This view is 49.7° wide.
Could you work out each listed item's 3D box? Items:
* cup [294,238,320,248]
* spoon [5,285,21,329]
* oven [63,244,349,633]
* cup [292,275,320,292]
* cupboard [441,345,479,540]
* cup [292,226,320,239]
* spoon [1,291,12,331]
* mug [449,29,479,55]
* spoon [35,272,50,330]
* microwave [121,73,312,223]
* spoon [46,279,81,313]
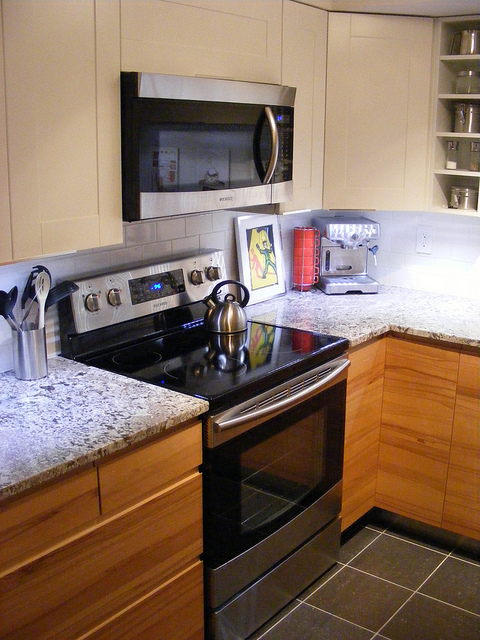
[{"bbox_3d":[0.338,-0.376,2.631,0.090,0.071,0.069,-1,6,-18],"label":"cup"},{"bbox_3d":[-0.622,-0.035,1.417,0.020,0.121,0.026,-18,23,-39],"label":"spoon"},{"bbox_3d":[0.038,0.187,2.354,1.069,1.822,1.119,13,22,35],"label":"oven"},{"bbox_3d":[0.340,-0.186,2.627,0.110,0.086,0.078,0,10,0],"label":"cup"},{"bbox_3d":[0.870,0.483,2.012,0.143,0.794,0.111,6,10,32],"label":"cupboard"},{"bbox_3d":[0.342,-0.432,2.632,0.072,0.076,0.097,5,6,40],"label":"cup"},{"bbox_3d":[-0.641,-0.023,1.421,0.018,0.116,0.146,-3,11,-23],"label":"spoon"},{"bbox_3d":[0.934,-1.143,2.130,0.129,0.120,0.074,11,23,38],"label":"mug"},{"bbox_3d":[-0.550,-0.058,1.439,0.027,0.167,0.024,-3,6,-28],"label":"spoon"},{"bbox_3d":[-0.095,-0.534,1.629,0.671,0.414,0.238,-16,28,-40],"label":"microwave"},{"bbox_3d":[-0.517,-0.080,1.520,0.086,0.066,0.094,-3,10,-18],"label":"spoon"}]
